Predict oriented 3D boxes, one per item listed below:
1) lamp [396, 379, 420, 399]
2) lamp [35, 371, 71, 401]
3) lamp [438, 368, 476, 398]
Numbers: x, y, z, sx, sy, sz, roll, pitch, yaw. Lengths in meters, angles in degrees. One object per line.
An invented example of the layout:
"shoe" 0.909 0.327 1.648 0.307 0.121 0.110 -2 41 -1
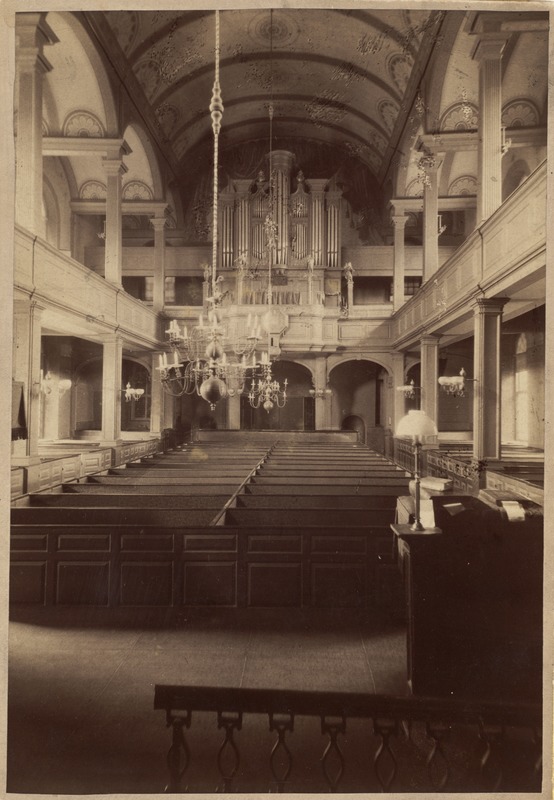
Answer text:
"lamp" 2.430 -0.166 15.368 0.376 0.272 0.390 3 4 26
"lamp" -4.216 -0.243 15.430 0.457 0.240 0.463 -14 28 -34
"lamp" 3.053 -0.287 13.867 0.566 0.610 0.311 2 -3 2
